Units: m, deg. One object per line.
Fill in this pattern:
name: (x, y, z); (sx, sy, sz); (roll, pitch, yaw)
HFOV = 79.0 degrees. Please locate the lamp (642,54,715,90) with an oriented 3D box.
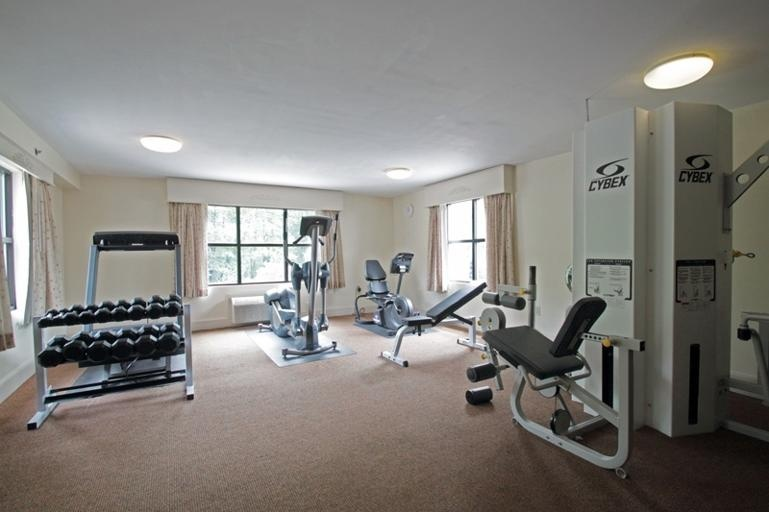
lamp: (2.641, -1.679, 4.209); (0.426, 0.203, 0.329); (6, 3, 3)

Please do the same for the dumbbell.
dumbbell: (-2.776, 0.828, 4.821); (1.295, 0.682, 0.558); (-3, 7, -16)
